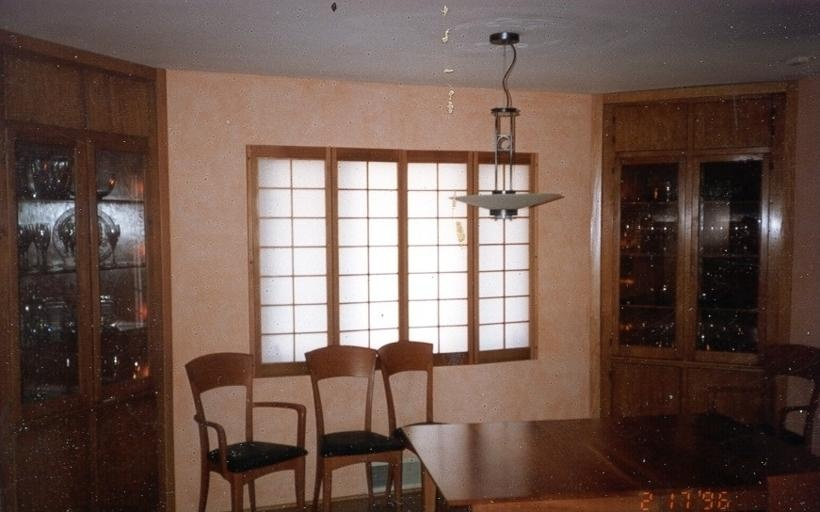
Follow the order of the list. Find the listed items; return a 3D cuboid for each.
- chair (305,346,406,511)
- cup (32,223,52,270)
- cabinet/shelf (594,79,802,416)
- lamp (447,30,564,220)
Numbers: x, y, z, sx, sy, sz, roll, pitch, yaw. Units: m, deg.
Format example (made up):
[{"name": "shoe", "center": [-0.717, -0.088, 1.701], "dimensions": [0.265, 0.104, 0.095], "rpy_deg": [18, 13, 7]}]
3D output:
[{"name": "chair", "center": [-0.428, 1.264, 5.092], "dimensions": [0.684, 1.208, 0.519], "rpy_deg": [1, -7, -9]}, {"name": "cup", "center": [-2.485, -0.062, 4.688], "dimensions": [0.106, 0.306, 0.045], "rpy_deg": [4, -8, -30]}, {"name": "cabinet/shelf", "center": [2.244, -0.029, 5.422], "dimensions": [1.491, 2.521, 0.438], "rpy_deg": [-2, -7, 13]}, {"name": "lamp", "center": [0.590, -0.820, 4.406], "dimensions": [0.828, 1.104, 0.789], "rpy_deg": [-9, 13, -40]}]
